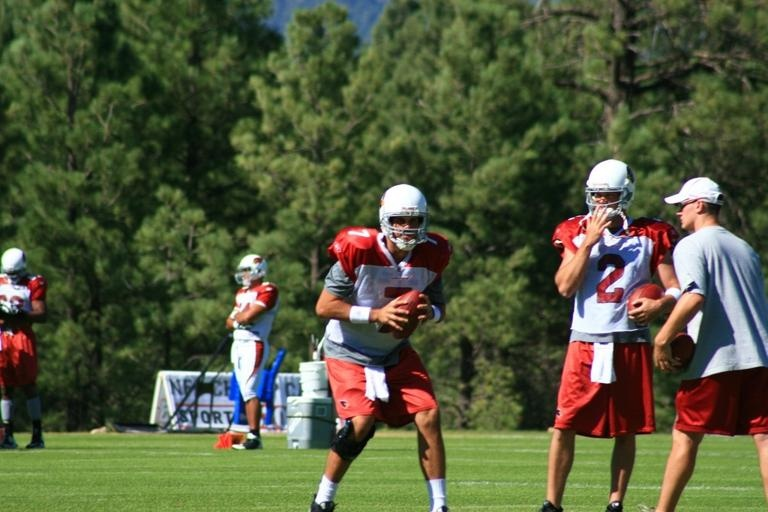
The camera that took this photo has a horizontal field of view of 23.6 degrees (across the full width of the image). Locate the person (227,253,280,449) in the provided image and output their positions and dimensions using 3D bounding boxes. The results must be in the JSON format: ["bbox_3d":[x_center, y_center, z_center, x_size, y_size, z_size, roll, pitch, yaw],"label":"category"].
[{"bbox_3d":[-2.698,2.014,37.294,1.210,3.661,0.976,0,-1,13],"label":"person"}]

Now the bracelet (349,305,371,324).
[{"bbox_3d":[-0.408,1.017,31.734,0.365,0.279,0.335,2,-25,4],"label":"bracelet"}]

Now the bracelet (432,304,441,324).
[{"bbox_3d":[0.911,1.004,31.923,0.203,0.272,0.110,8,-11,-1],"label":"bracelet"}]

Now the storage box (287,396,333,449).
[{"bbox_3d":[-1.426,3.461,37.819,1.021,1.339,1.073,2,-3,-23],"label":"storage box"}]

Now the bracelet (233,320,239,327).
[{"bbox_3d":[-2.981,1.370,37.059,0.128,0.127,0.115,9,4,-9],"label":"bracelet"}]

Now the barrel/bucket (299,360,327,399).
[{"bbox_3d":[-1.429,2.547,37.707,0.694,0.698,0.692,-2,2,0],"label":"barrel/bucket"}]

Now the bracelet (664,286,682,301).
[{"bbox_3d":[5.015,0.643,32.049,0.215,0.170,0.210,13,-5,-27],"label":"bracelet"}]
